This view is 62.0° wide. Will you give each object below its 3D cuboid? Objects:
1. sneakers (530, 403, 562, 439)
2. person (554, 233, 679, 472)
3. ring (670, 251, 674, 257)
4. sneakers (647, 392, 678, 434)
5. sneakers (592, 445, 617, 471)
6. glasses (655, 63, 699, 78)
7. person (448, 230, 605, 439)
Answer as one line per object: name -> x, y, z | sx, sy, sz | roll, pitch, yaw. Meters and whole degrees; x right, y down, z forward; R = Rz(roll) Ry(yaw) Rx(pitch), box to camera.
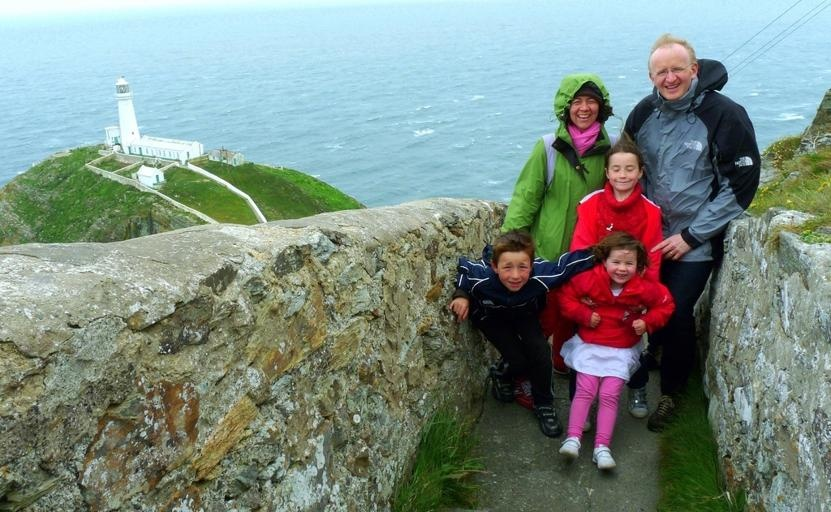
sneakers -> 1.129, 1.399, 5.998 | 0.149, 0.145, 0.330 | -12, 30, -10
person -> 1.520, 0.577, 5.667 | 0.968, 0.835, 1.965 | 10, 50, 21
ring -> 2.152, -0.019, 5.818 | 0.034, 0.035, 0.008 | -38, 17, 33
sneakers -> 2.147, 1.370, 6.044 | 0.153, 0.166, 0.421 | 33, 78, 29
sneakers -> 1.516, 1.596, 5.572 | 0.184, 0.252, 0.303 | -1, 32, 14
glasses -> 2.157, -1.528, 5.754 | 0.352, 0.113, 0.104 | -5, 32, 5
person -> 0.884, 0.602, 5.693 | 1.109, 1.467, 1.031 | 4, 13, 32
